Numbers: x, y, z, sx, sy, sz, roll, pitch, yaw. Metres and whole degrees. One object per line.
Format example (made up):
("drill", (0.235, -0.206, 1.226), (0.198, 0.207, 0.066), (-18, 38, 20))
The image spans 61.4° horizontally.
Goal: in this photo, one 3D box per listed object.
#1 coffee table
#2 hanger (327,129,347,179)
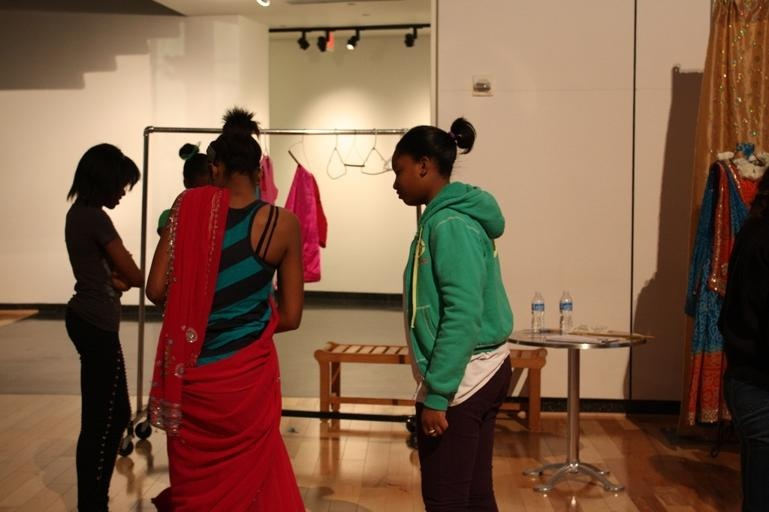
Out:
("coffee table", (1.352, 1.101, 5.005), (1.017, 1.165, 1.053), (0, 8, 3))
("hanger", (-0.700, -1.468, 9.611), (0.319, 0.676, 0.990), (1, 5, -5))
